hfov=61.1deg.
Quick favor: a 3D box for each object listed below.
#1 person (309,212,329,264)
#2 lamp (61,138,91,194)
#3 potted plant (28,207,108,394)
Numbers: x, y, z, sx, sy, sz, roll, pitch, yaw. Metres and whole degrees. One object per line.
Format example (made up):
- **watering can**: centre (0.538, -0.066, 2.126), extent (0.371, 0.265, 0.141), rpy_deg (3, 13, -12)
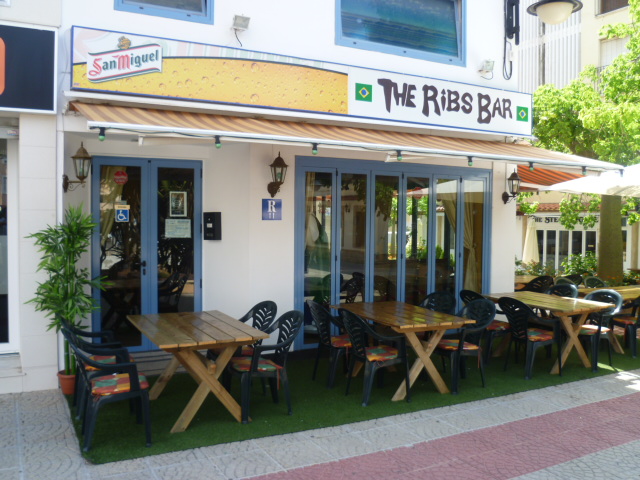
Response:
- **person**: centre (-0.001, -0.023, 10.905), extent (0.371, 1.007, 0.094), rpy_deg (-3, 8, -26)
- **lamp**: centre (-4.101, -1.217, 9.142), extent (0.429, 0.851, 0.941), rpy_deg (-2, 8, -22)
- **potted plant**: centre (-3.954, 0.501, 8.313), extent (0.907, 1.967, 0.882), rpy_deg (-6, 11, -44)
